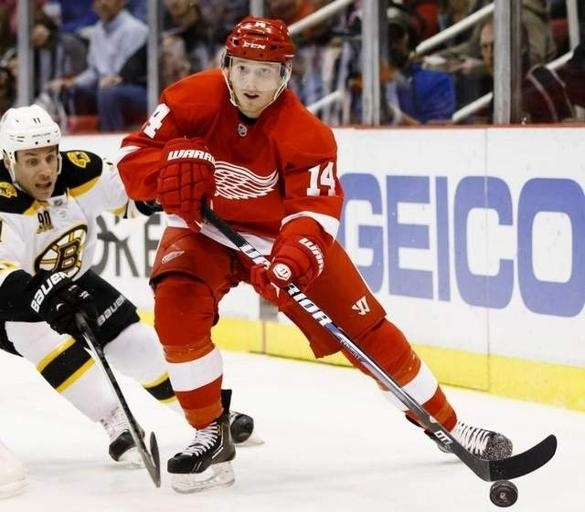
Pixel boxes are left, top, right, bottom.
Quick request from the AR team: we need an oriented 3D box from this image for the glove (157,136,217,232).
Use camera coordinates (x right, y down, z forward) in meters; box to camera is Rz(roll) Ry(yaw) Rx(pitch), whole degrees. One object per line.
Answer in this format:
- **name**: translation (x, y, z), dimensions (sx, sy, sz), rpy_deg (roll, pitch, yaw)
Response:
- **glove**: translation (-0.327, -0.223, 2.552), dimensions (0.191, 0.235, 0.100), rpy_deg (-4, 3, 36)

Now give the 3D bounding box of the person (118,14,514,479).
- **person**: translation (0.078, -0.007, 2.745), dimensions (1.418, 1.325, 0.970), rpy_deg (4, 1, -5)

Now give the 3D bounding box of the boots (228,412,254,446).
- **boots**: translation (-0.185, 0.612, 3.062), dimensions (0.103, 0.095, 0.118), rpy_deg (1, 0, -20)

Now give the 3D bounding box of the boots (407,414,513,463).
- **boots**: translation (0.568, 0.578, 2.801), dimensions (0.295, 0.132, 0.096), rpy_deg (0, 49, 56)

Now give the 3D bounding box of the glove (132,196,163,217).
- **glove**: translation (-0.502, -0.165, 2.991), dimensions (0.080, 0.063, 0.069), rpy_deg (-42, 25, 24)

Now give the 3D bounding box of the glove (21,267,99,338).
- **glove**: translation (-0.675, 0.140, 2.553), dimensions (0.144, 0.224, 0.089), rpy_deg (-44, 2, 15)
